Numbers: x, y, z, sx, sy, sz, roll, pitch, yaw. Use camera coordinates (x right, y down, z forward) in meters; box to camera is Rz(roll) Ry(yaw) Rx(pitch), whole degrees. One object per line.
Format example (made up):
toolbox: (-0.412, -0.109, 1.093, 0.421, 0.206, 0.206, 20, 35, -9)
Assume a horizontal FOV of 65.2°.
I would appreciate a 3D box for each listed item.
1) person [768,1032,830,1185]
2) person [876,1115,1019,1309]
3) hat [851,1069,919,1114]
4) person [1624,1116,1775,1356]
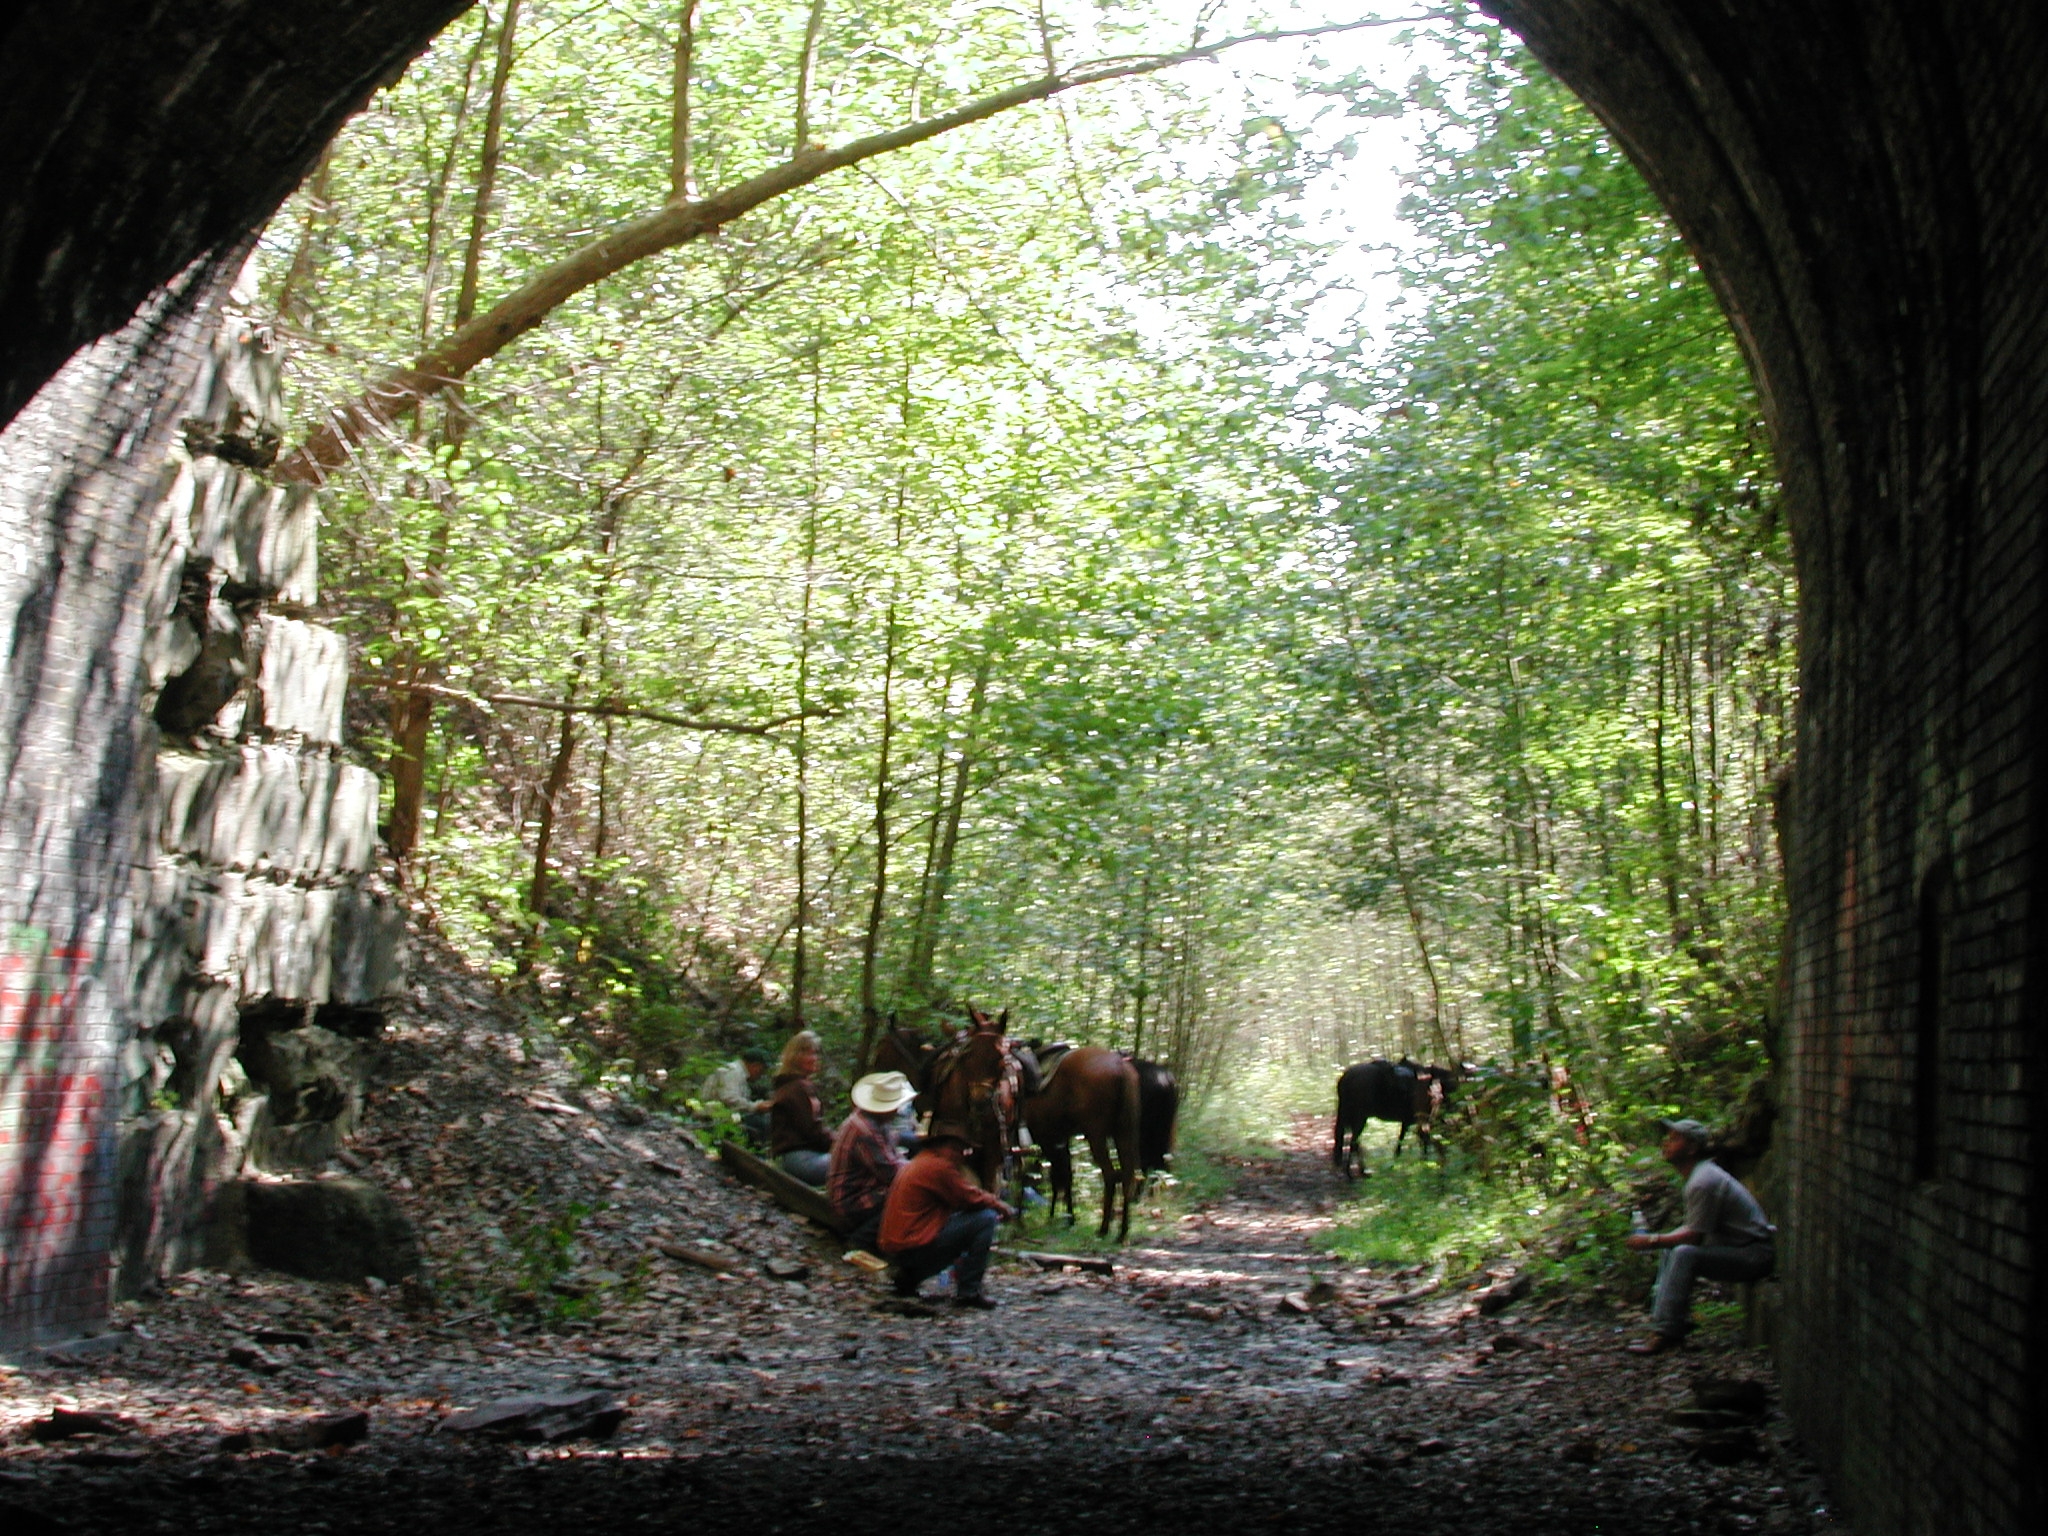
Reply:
person: (-1.873, 2.891, 13.582, 0.569, 1.252, 1.300, 6, -13, -7)
person: (-0.595, 3.238, 11.630, 0.841, 1.326, 0.630, 4, -15, -2)
hat: (-1.060, 2.488, 12.211, 0.408, 0.330, 0.612, 4, -11, -5)
person: (4.333, 2.932, 10.209, 0.802, 1.372, 1.544, -2, -13, 19)
